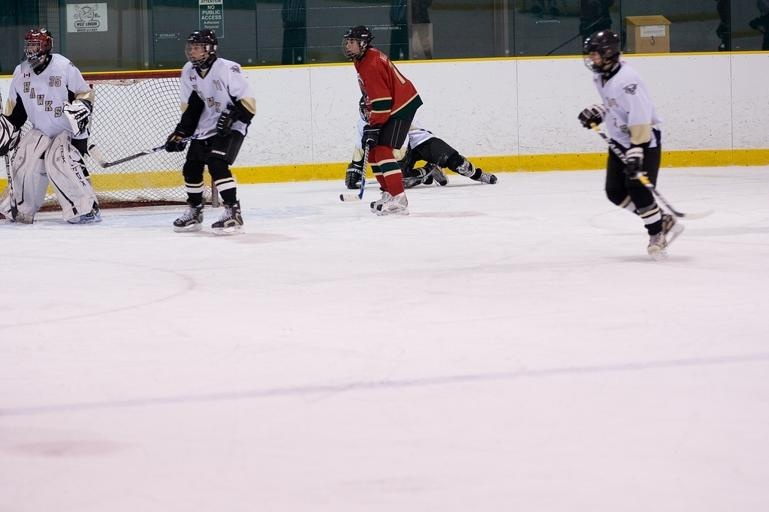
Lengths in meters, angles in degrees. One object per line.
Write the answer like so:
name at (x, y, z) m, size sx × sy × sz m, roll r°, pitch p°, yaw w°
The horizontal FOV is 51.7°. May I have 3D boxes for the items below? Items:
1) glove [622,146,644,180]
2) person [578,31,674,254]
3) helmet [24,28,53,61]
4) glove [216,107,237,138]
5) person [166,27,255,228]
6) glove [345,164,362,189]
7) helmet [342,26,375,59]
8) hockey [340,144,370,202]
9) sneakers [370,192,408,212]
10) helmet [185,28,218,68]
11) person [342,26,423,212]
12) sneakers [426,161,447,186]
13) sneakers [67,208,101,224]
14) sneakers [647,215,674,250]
glove at (1.231, -0.470, 3.916) m, size 0.131 × 0.129 × 0.156 m, roll -2°, pitch 1°, yaw 4°
person at (1.283, -0.575, 4.093) m, size 0.381 × 1.128 × 0.635 m, roll -14°, pitch 20°, yaw -34°
helmet at (-2.428, -1.469, 5.592) m, size 0.174 × 0.223 × 0.194 m, roll -8°, pitch 17°, yaw -20°
glove at (-1.001, -0.857, 5.067) m, size 0.129 × 0.181 × 0.115 m, roll -11°, pitch 18°, yaw -28°
person at (-1.169, -0.803, 5.211) m, size 0.686 × 1.284 × 0.406 m, roll 6°, pitch 19°, yaw 26°
glove at (-0.295, -0.759, 7.735) m, size 0.202 × 0.225 × 0.237 m, roll 1°, pitch -32°, yaw -2°
helmet at (-0.184, -1.509, 5.669) m, size 0.188 × 0.224 × 0.203 m, roll -3°, pitch 15°, yaw -2°
hockey at (-0.277, -0.783, 7.508) m, size 0.392 × 0.094 × 0.876 m, roll 2°, pitch 30°, yaw 1°
sneakers at (0.060, -0.387, 5.798) m, size 0.201 × 0.091 × 0.215 m, roll -1°, pitch 6°, yaw -13°
helmet at (-1.209, -1.328, 5.156) m, size 0.220 × 0.207 × 0.257 m, roll 0°, pitch 8°, yaw 27°
person at (-0.024, -0.955, 5.740) m, size 0.507 × 1.338 × 0.357 m, roll 2°, pitch 17°, yaw 14°
sneakers at (0.527, -0.795, 7.848) m, size 0.135 × 0.288 × 0.100 m, roll -35°, pitch 61°, yaw -7°
sneakers at (-2.196, -0.293, 5.848) m, size 0.186 × 0.071 × 0.128 m, roll -6°, pitch 0°, yaw -1°
sneakers at (1.379, -0.121, 3.979) m, size 0.207 × 0.087 × 0.071 m, roll -45°, pitch 10°, yaw -26°
